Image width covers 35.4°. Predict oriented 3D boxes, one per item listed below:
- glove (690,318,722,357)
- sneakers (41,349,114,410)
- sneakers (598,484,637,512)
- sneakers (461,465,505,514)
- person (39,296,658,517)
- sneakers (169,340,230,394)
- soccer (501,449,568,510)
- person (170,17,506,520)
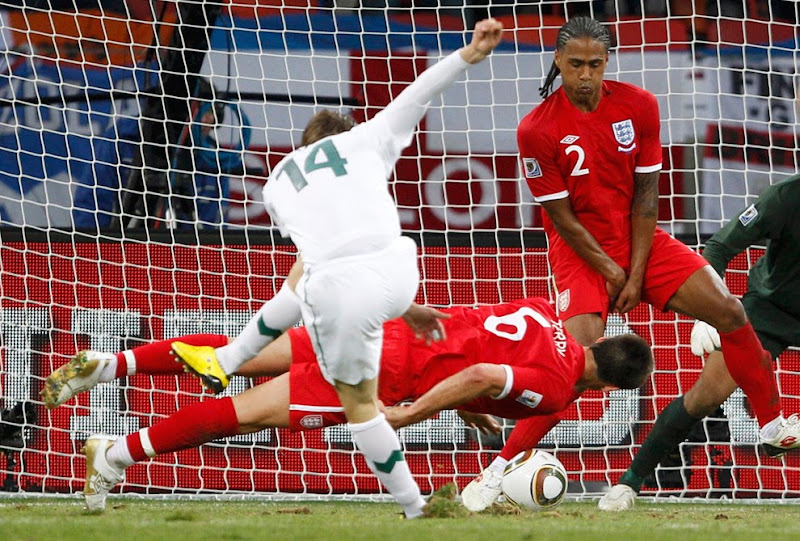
[{"bbox_3d":[1.740,0.398,7.135,0.188,0.176,0.060,-20,-3,-7],"label":"glove"},{"bbox_3d":[-1.666,0.568,6.549,0.349,0.282,0.156,-36,27,-4],"label":"sneakers"},{"bbox_3d":[1.240,1.302,7.168,0.200,0.074,0.118,-26,47,-24],"label":"sneakers"},{"bbox_3d":[0.482,1.194,6.920,0.160,0.266,0.118,42,-1,8],"label":"sneakers"},{"bbox_3d":[-0.251,0.736,6.674,3.305,0.848,1.197,-5,17,-4],"label":"person"},{"bbox_3d":[-1.001,0.464,6.418,0.371,0.187,0.137,45,-17,-28],"label":"sneakers"},{"bbox_3d":[0.745,1.124,6.781,0.277,0.254,0.334,-6,-2,-21],"label":"soccer"},{"bbox_3d":[-0.156,-0.043,6.157,1.022,2.303,0.406,2,-9,-7],"label":"person"}]
